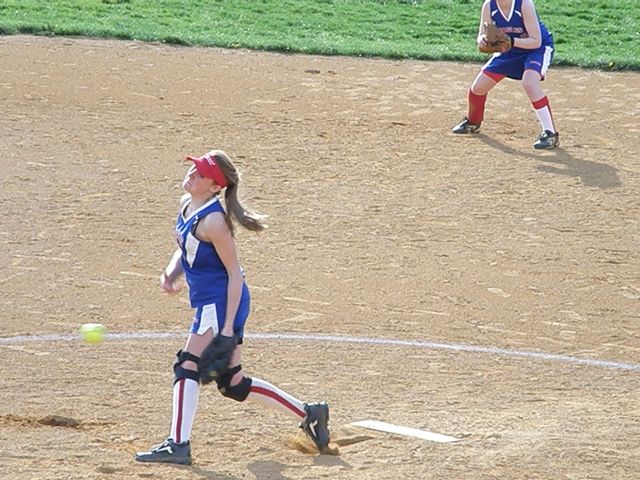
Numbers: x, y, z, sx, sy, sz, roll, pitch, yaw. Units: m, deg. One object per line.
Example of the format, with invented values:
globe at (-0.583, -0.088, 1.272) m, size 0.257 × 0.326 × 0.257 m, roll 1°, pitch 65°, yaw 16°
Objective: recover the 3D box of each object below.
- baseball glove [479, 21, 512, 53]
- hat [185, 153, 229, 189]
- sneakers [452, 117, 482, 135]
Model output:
baseball glove at (2.313, -2.637, 14.040) m, size 0.413 × 0.384 × 0.264 m, roll 12°, pitch 21°, yaw 21°
hat at (-0.955, -0.607, 8.983) m, size 0.159 × 0.291 × 0.413 m, roll -41°, pitch -16°, yaw -2°
sneakers at (1.950, -1.570, 14.788) m, size 0.474 × 0.157 × 0.176 m, roll -2°, pitch 32°, yaw -19°
